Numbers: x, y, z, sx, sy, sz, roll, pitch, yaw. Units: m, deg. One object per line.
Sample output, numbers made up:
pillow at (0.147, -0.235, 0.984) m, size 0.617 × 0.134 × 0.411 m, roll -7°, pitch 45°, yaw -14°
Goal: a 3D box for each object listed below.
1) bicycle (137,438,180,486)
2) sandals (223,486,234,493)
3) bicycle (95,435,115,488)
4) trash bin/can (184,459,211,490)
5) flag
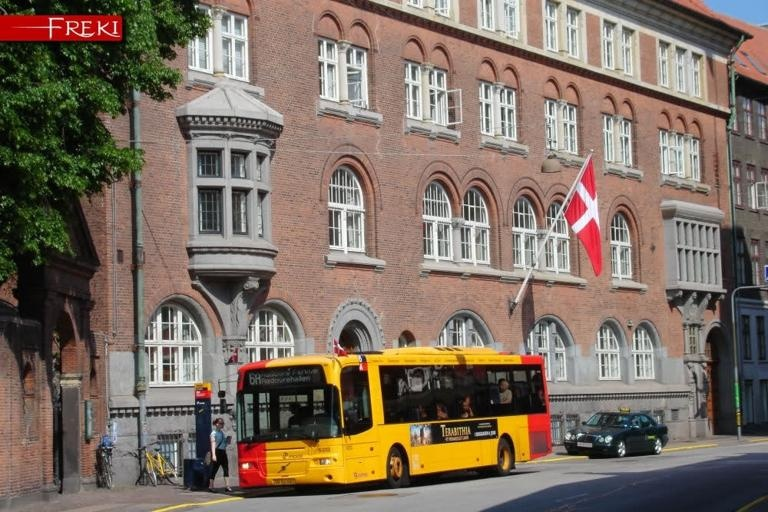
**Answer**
bicycle at (-7.847, 7.218, 39.711) m, size 0.817 × 1.017 × 1.692 m, roll -21°, pitch -16°, yaw 12°
sandals at (-5.003, 7.477, 37.378) m, size 0.229 × 0.285 × 0.702 m, roll 3°, pitch -14°, yaw -10°
bicycle at (-9.325, 6.815, 38.917) m, size 0.525 × 1.903 × 0.757 m, roll 1°, pitch -14°, yaw -14°
trash bin/can at (-6.110, 7.052, 37.629) m, size 0.985 × 0.994 × 0.891 m, roll 1°, pitch 1°, yaw 16°
flag at (9.058, -2.071, 53.396) m, size 1.006 × 5.389 × 2.343 m, roll -13°, pitch -17°, yaw 37°
